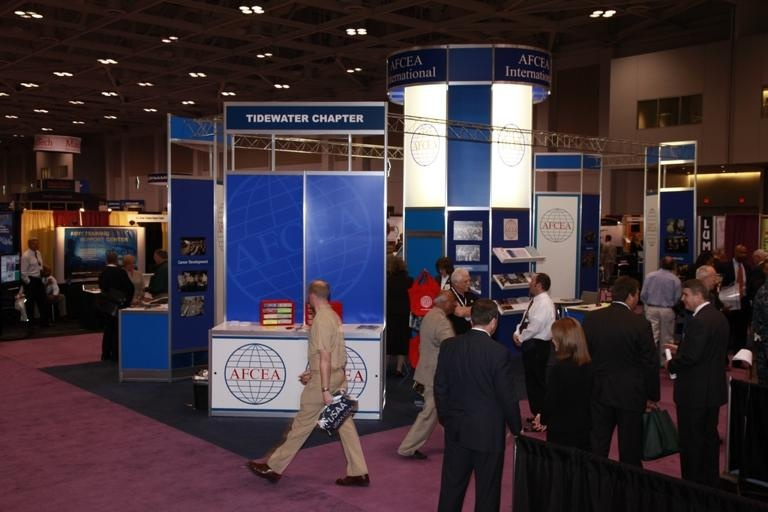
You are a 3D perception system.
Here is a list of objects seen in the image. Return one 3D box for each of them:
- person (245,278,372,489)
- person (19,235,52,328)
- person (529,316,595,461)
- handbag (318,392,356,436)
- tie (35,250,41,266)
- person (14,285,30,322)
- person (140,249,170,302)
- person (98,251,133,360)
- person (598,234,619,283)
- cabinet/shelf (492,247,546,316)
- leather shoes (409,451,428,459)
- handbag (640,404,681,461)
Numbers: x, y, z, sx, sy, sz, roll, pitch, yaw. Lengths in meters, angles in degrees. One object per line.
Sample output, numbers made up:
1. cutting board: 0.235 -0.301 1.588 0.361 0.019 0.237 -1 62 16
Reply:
1. person: -0.742 1.389 7.176 1.151 2.204 0.616 -1 8 -4
2. person: -7.200 0.572 13.898 0.378 1.896 0.576 -4 9 -20
3. person: 1.724 1.216 6.392 0.469 1.230 0.354 2 9 18
4. handbag: -0.499 1.636 7.082 0.433 0.309 0.130 -44 -2 -6
5. tie: -7.082 0.047 13.853 0.060 0.325 0.234 -3 9 -17
6. person: -7.464 0.999 13.914 0.224 0.760 0.499 -5 10 -30
7. person: -3.743 0.358 11.125 0.366 0.877 1.034 -4 9 -20
8. person: -4.542 0.856 11.620 0.711 1.929 0.576 7 9 29
9. person: 6.599 0.051 19.972 0.446 1.205 1.501 2 9 19
10. cabinet/shelf: 2.114 0.422 10.886 1.040 1.201 0.378 -6 10 -33
11. leather shoes: 0.388 2.306 7.823 0.181 0.075 0.095 -4 -3 14
12. handbag: 2.706 1.770 6.649 0.346 0.537 0.211 3 9 24
